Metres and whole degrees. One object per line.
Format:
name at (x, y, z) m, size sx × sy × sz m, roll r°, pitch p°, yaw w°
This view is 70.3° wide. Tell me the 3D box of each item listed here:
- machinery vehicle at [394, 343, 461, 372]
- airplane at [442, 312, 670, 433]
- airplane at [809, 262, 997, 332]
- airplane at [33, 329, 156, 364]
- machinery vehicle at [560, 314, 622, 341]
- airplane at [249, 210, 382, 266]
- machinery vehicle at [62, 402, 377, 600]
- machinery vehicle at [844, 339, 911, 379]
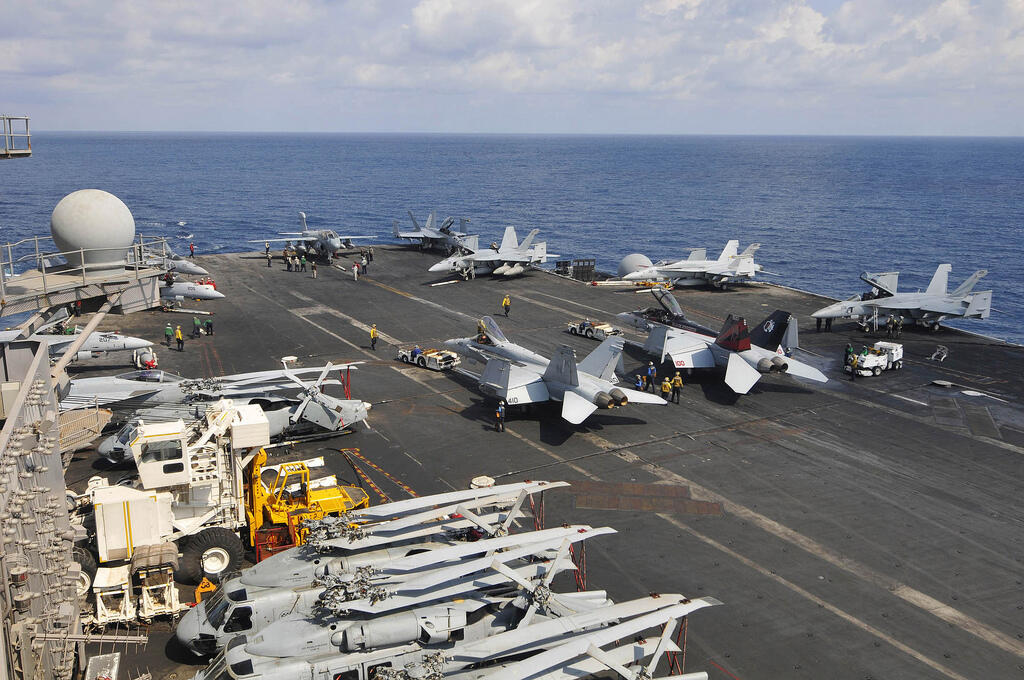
machinery vehicle at (-6.864, 1.353, 57.016) m, size 4.156 × 0.833 × 2.402 m, roll 12°, pitch 15°, yaw 32°
airplane at (1.616, 1.589, 47.989) m, size 11.728 × 4.687 × 4.941 m, roll 13°, pitch 21°, yaw 42°
airplane at (35.871, -3.533, 66.580) m, size 12.582 × 2.735 × 8.430 m, roll -1°, pitch 11°, yaw 8°
airplane at (-30.845, 0.796, 54.184) m, size 7.235 × 1.653 × 5.051 m, roll -4°, pitch 15°, yaw -21°
machinery vehicle at (6.513, -0.989, 63.385) m, size 3.920 × 0.741 × 2.249 m, roll 8°, pitch 13°, yaw 28°
airplane at (-26.142, -12.581, 95.810) m, size 19.077 × 4.080 × 15.426 m, roll -9°, pitch 21°, yaw -33°
machinery vehicle at (-14.271, 6.420, 34.741) m, size 11.979 × 6.282 × 16.996 m, roll -1°, pitch 10°, yaw -4°
machinery vehicle at (27.709, 1.606, 57.031) m, size 5.936 × 1.857 × 3.344 m, roll -9°, pitch 16°, yaw -22°
